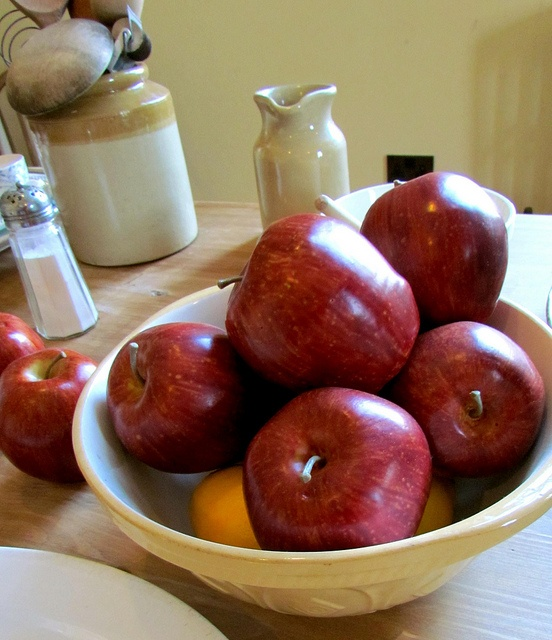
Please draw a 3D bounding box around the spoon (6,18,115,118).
[{"bbox_3d":[-0.238,-0.277,0.689,0.126,0.097,0.094,-12,30,-7],"label":"spoon"}]

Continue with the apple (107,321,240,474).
[{"bbox_3d":[-0.055,0.046,0.346,0.052,0.062,0.052,-55,40,4],"label":"apple"}]

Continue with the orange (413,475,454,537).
[{"bbox_3d":[0.083,0.098,0.322,0.024,0.023,0.024,-17,26,24],"label":"orange"}]

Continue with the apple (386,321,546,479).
[{"bbox_3d":[0.099,0.043,0.372,0.076,0.079,0.088,3,4,5],"label":"apple"}]

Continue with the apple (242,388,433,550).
[{"bbox_3d":[0.031,0.081,0.313,0.091,0.092,0.089,-13,57,13],"label":"apple"}]

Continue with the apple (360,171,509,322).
[{"bbox_3d":[0.102,-0.046,0.406,0.093,0.103,0.093,-7,-12,2],"label":"apple"}]
